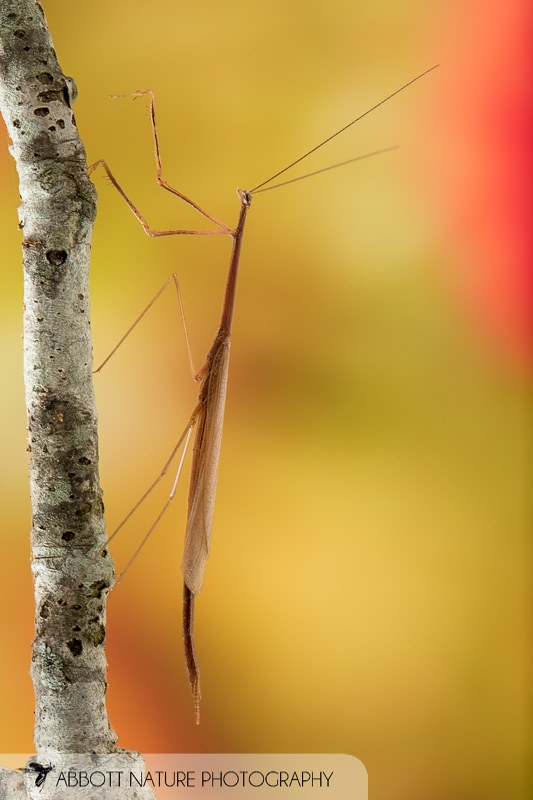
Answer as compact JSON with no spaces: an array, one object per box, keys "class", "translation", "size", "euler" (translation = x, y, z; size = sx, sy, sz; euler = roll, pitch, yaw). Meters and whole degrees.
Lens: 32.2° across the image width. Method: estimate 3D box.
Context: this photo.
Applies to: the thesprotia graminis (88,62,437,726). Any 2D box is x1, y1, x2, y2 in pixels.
[{"class":"thesprotia graminis","translation":[-0.031,-0.026,1.337],"size":[0.372,0.957,0.341],"euler":[9,-7,-38]}]
